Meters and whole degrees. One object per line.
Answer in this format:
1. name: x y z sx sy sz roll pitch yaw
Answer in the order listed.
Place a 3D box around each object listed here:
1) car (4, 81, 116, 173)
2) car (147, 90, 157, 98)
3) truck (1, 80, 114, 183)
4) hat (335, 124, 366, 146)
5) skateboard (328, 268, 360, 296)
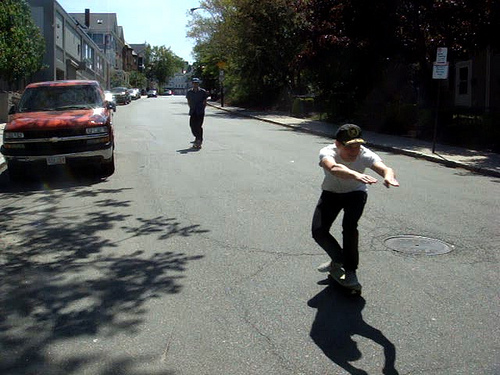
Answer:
1. car: -5.123 -2.033 10.832 1.901 1.782 3.727 0 6 -8
2. car: -23.559 -22.983 87.380 1.735 1.565 3.120 0 17 -5
3. truck: -5.042 -1.642 9.525 1.901 2.194 4.352 -1 6 -8
4. hat: 1.016 -0.572 3.786 0.182 0.171 0.281 -6 10 -7
5. skateboard: 1.046 1.039 4.124 0.147 0.215 0.507 -2 6 -26
